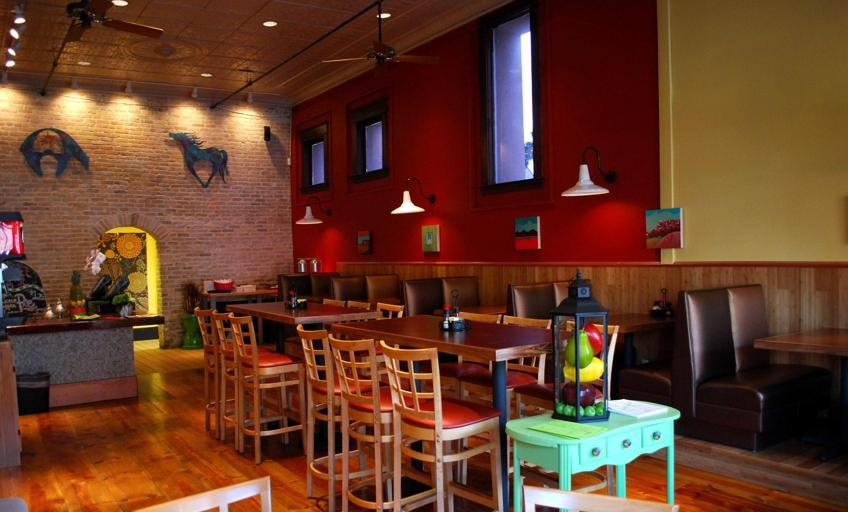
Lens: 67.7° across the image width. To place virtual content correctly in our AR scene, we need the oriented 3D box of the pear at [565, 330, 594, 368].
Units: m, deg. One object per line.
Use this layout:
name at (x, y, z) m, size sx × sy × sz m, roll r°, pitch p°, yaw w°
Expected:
pear at (1.216, 0.736, 4.956) m, size 0.289 × 0.327 × 0.280 m, roll 1°, pitch -7°, yaw 21°

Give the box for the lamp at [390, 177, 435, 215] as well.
lamp at (-0.215, -0.991, 10.387) m, size 0.822 × 0.541 × 0.675 m, roll 3°, pitch -4°, yaw -44°

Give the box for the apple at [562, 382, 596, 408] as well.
apple at (1.221, 1.076, 5.026) m, size 0.219 × 0.172 × 0.210 m, roll 0°, pitch 2°, yaw -36°

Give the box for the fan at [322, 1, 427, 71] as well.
fan at (-0.751, -3.564, 10.135) m, size 1.555 × 1.115 × 1.371 m, roll 0°, pitch -3°, yaw -20°

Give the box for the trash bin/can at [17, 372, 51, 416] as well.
trash bin/can at (-5.270, 1.856, 8.583) m, size 0.387 × 0.519 × 0.246 m, roll -6°, pitch 12°, yaw -20°

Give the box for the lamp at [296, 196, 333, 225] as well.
lamp at (-2.250, -0.886, 12.680) m, size 0.679 × 0.500 × 0.810 m, roll -1°, pitch -1°, yaw 39°

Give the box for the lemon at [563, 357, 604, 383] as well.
lemon at (1.281, 0.903, 5.032) m, size 0.297 × 0.135 × 0.199 m, roll 2°, pitch -8°, yaw -12°

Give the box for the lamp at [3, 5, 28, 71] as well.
lamp at (-6.215, -3.351, 9.632) m, size 0.235 × 0.921 × 0.287 m, roll 13°, pitch 25°, yaw -32°
